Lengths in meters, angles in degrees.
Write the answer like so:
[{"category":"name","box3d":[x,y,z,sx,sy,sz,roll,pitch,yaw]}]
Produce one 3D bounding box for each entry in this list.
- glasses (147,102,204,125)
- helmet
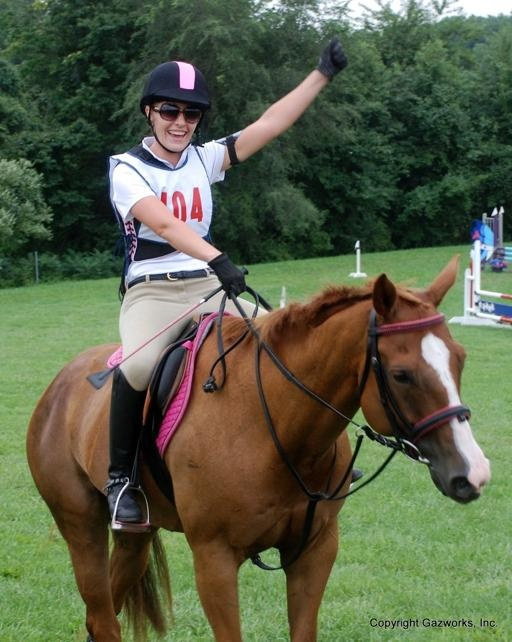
[{"category":"glasses","box3d":[-0.359,-0.943,3.358,0.238,0.084,0.128,0,5,-11]},{"category":"helmet","box3d":[-0.360,-1.100,3.431,0.349,0.186,0.428,1,7,-19]}]
